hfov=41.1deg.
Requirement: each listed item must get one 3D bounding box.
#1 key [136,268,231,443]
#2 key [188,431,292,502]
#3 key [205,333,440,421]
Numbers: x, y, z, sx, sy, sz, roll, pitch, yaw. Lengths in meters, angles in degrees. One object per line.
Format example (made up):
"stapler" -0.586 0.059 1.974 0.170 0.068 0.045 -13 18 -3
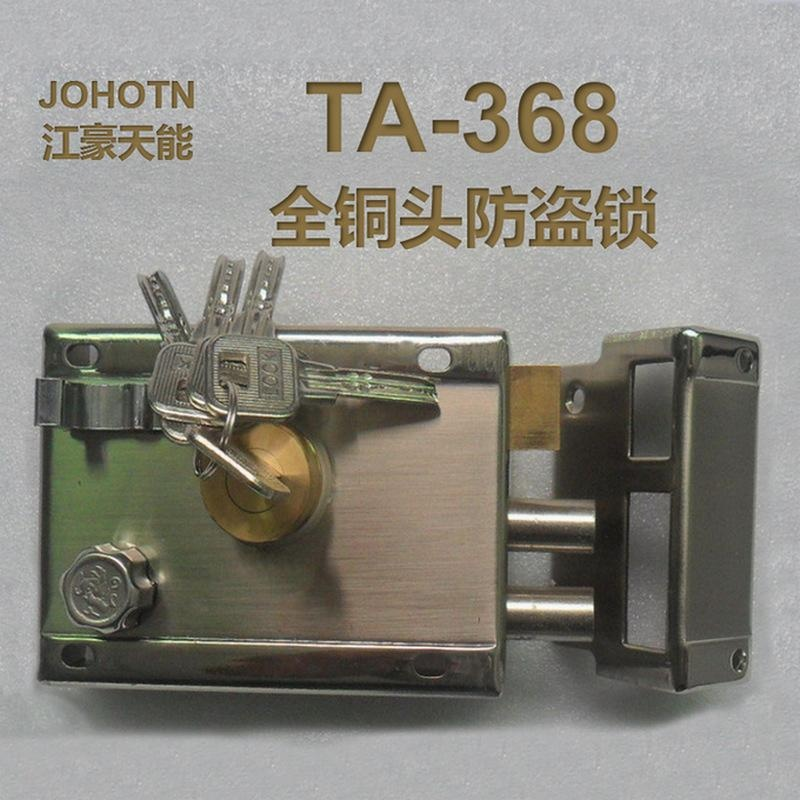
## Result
"key" -0.126 -0.023 0.618 0.071 0.022 0.096 -4 73 -3
"key" -0.090 0.038 0.600 0.056 0.032 0.010 33 101 9
"key" -0.043 -0.003 0.617 0.144 0.050 0.016 10 43 -1
